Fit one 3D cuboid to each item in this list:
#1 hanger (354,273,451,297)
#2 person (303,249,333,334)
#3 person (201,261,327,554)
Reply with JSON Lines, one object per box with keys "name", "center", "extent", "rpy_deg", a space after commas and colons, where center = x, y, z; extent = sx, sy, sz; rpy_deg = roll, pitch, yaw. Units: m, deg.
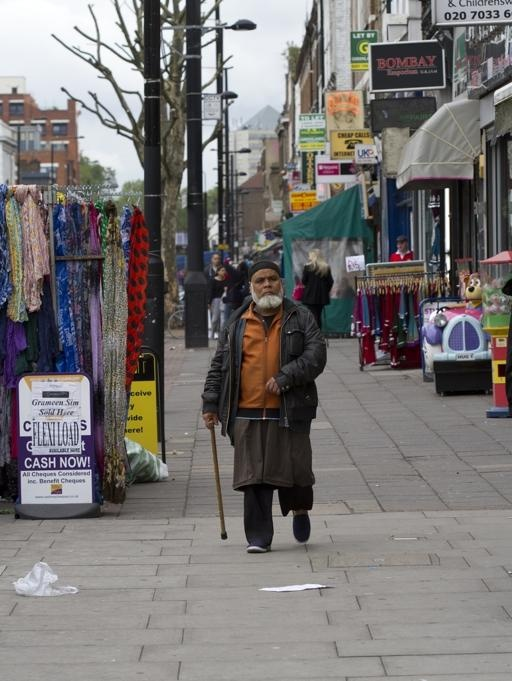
{"name": "hanger", "center": [1.872, -0.708, 15.903], "extent": [1.181, 0.314, 0.395], "rpy_deg": [-3, 6, 9]}
{"name": "person", "center": [0.909, -0.878, 18.965], "extent": [0.460, 1.584, 0.406], "rpy_deg": [0, 5, -7]}
{"name": "person", "center": [0.034, 0.378, 6.642], "extent": [0.607, 1.530, 0.617], "rpy_deg": [-1, -2, -2]}
